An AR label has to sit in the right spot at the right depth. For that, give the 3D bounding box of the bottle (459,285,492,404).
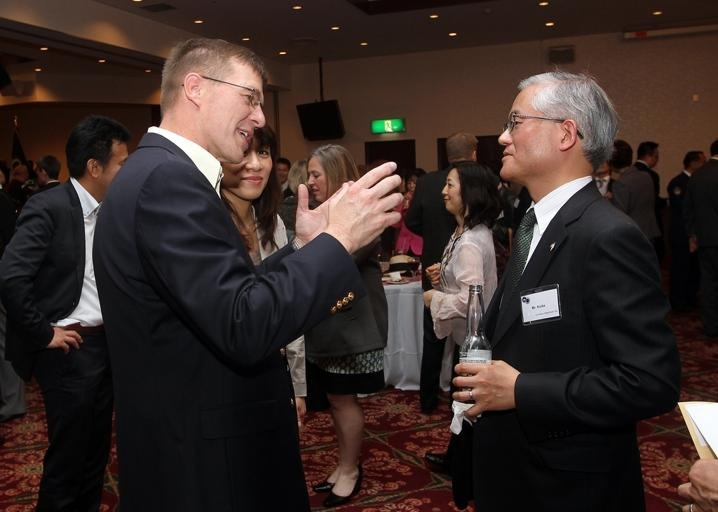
[{"bbox_3d":[0.384,0.302,1.686,0.097,0.410,0.319,0,6,12],"label":"bottle"}]

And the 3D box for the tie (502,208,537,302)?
[{"bbox_3d":[0.525,-0.006,1.674,0.104,0.306,0.228,0,7,17],"label":"tie"}]

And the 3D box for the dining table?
[{"bbox_3d":[0.443,0.438,4.455,0.360,0.446,0.451,-10,-27,-16],"label":"dining table"}]

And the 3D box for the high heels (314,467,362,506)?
[{"bbox_3d":[-0.107,1.310,2.895,0.235,0.102,0.142,5,-1,-43],"label":"high heels"}]
